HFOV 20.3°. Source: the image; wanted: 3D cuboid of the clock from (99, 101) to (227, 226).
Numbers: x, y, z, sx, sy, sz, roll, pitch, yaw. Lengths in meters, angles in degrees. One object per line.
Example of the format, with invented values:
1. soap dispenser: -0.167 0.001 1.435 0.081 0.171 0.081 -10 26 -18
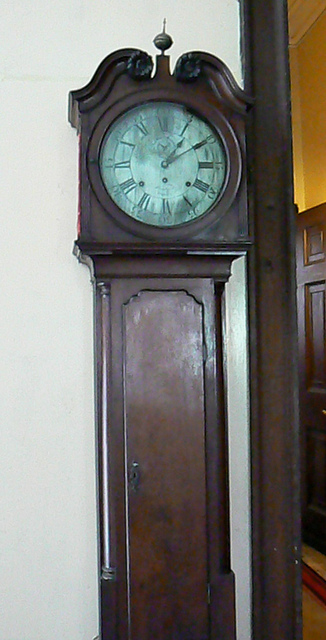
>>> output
1. clock: -0.012 -0.369 2.182 0.197 0.255 0.026 -13 -8 -6
